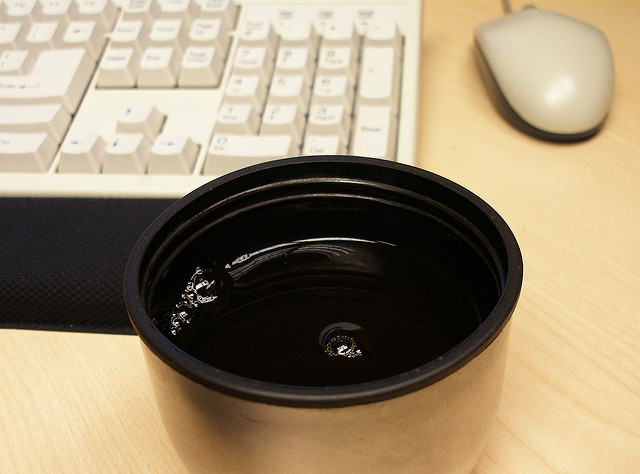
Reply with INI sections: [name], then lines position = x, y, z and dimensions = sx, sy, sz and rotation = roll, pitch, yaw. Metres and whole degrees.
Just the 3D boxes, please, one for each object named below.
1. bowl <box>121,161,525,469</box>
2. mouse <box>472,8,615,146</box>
[bowl]
position = 0.003, 0.039, 0.285
dimensions = 0.113, 0.091, 0.111
rotation = -3, 37, 2
[mouse]
position = 0.199, -0.144, 0.511
dimensions = 0.104, 0.052, 0.143
rotation = -11, 55, -9
